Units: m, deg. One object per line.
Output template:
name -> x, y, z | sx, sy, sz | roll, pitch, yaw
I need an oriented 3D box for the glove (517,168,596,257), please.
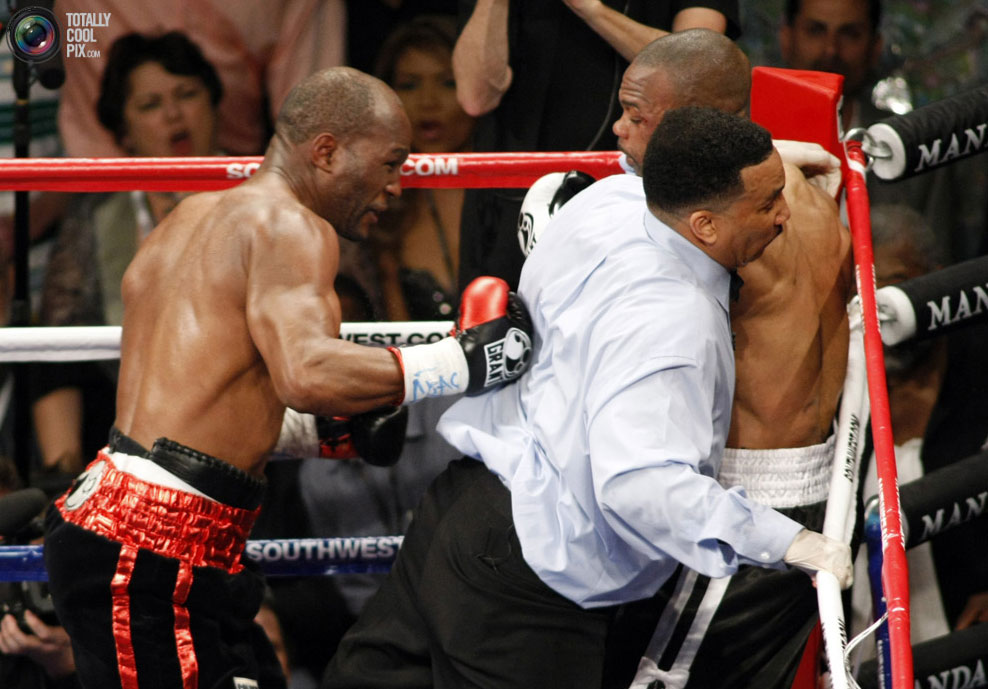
glove -> 0.206, -0.478, 4.624 | 0.299, 0.297, 0.227 | 3, 34, 19

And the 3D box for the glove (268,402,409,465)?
glove -> -0.561, 0.278, 4.580 | 0.402, 0.133, 0.324 | -5, 19, -41

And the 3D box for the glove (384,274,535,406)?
glove -> -0.091, 0.009, 4.167 | 0.301, 0.194, 0.451 | 28, 47, 31

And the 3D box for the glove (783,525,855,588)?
glove -> 0.901, 0.577, 3.743 | 0.191, 0.140, 0.090 | 29, -8, -1
